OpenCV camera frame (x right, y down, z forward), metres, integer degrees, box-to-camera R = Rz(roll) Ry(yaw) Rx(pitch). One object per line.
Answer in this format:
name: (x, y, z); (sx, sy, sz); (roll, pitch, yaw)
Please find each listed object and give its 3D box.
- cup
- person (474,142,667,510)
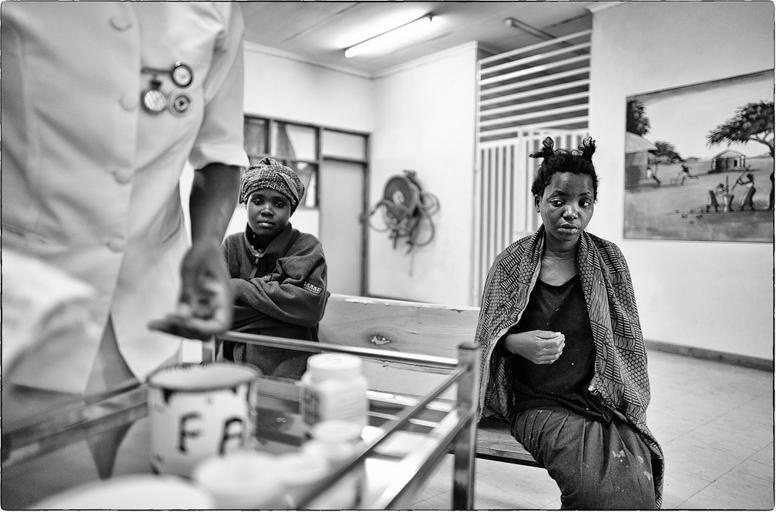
cup: (-0.250, 0.235, 0.772); (0.146, 0.142, 0.146); (0, 4, 0)
person: (0.550, 0.181, 1.586); (0.546, 1.139, 0.400); (2, 2, 33)
